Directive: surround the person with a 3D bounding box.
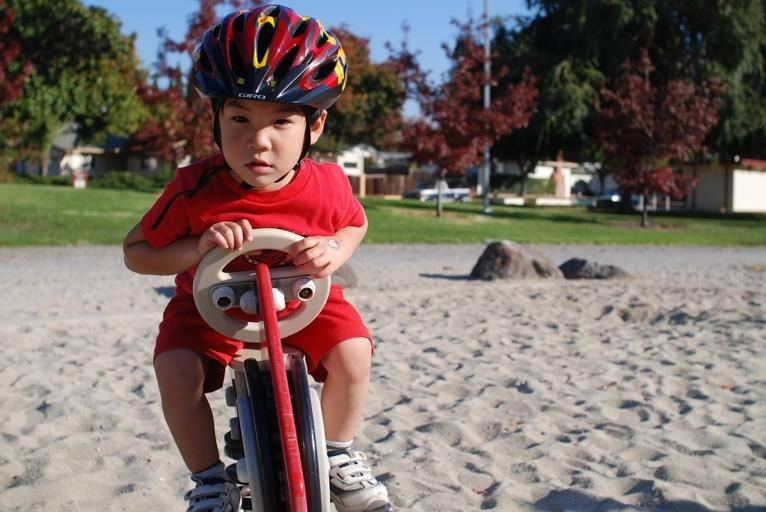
[{"bbox_3d":[-0.549,0.020,4.636,1.114,2.290,0.590,2,4,-18],"label":"person"}]
